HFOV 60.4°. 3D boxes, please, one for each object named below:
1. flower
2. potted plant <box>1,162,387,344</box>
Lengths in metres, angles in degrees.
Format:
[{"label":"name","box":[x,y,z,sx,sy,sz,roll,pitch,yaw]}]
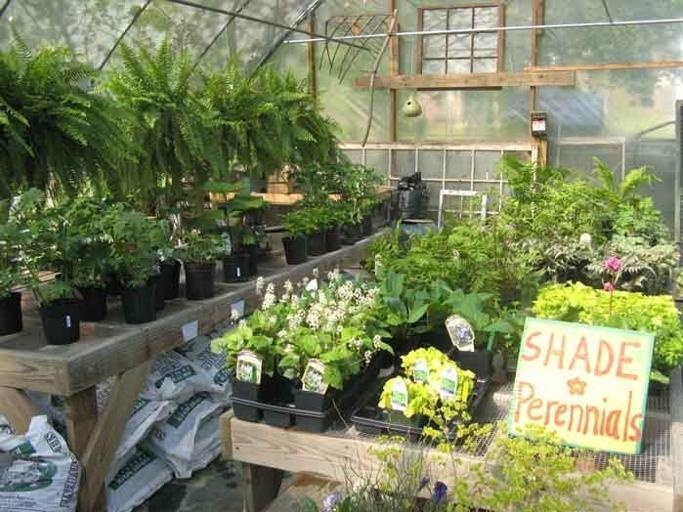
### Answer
[{"label":"flower","box":[-0.142,0.327,2.559,0.544,0.197,0.620,7,29,16]},{"label":"potted plant","box":[-0.747,-0.127,4.590,3.318,1.047,1.143,-17,26,-39]}]
